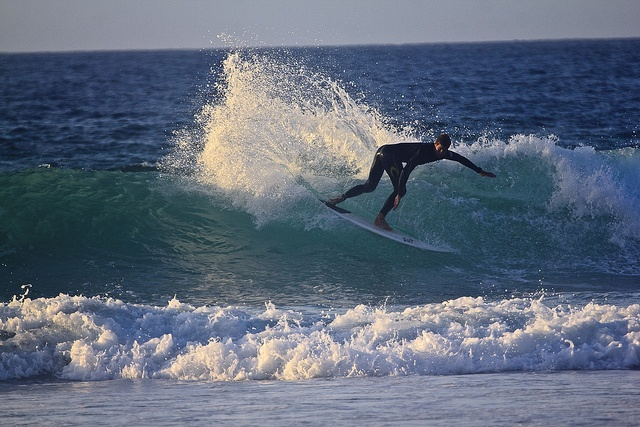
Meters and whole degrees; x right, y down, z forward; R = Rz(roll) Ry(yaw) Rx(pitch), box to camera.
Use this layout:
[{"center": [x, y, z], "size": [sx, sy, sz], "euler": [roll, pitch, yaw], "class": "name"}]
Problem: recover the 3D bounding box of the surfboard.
[{"center": [1.246, 0.021, 19.801], "size": [3.705, 0.416, 0.587], "euler": [27, 27, 17], "class": "surfboard"}]
